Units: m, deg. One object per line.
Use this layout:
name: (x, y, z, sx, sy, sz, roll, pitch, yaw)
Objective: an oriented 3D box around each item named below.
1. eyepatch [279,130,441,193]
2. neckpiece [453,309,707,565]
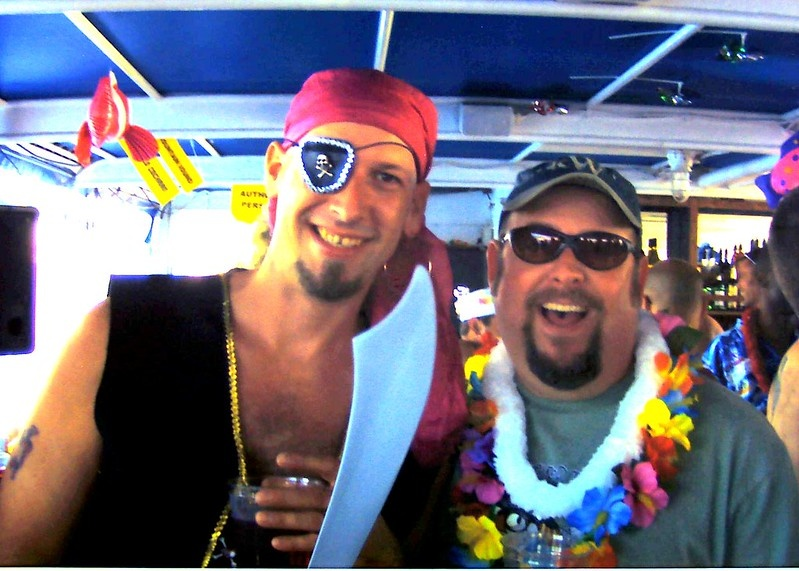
eyepatch: (-0.137, -0.300, 1.833, 0.306, 0.145, 0.021, 3, -3, 0)
neckpiece: (0.457, 0.346, 1.873, 0.512, 0.676, 0.332, 5, 7, -4)
